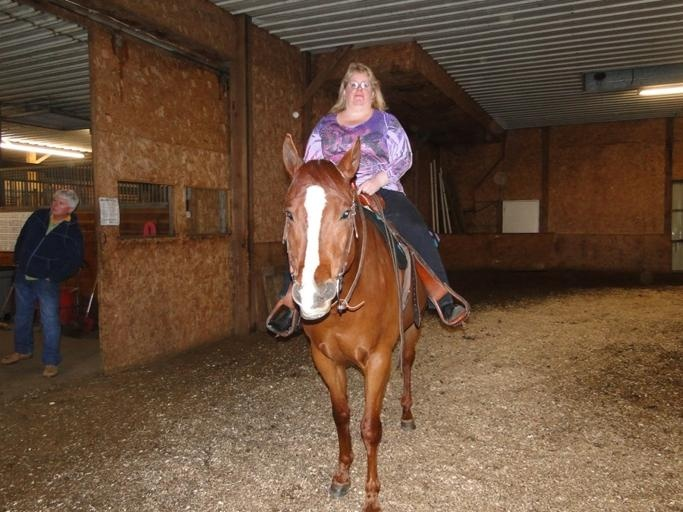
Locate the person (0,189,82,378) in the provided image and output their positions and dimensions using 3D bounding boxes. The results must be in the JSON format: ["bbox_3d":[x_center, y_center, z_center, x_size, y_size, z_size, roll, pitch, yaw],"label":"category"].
[{"bbox_3d":[-3.899,0.296,6.692,0.984,2.279,0.782,5,12,25],"label":"person"}]

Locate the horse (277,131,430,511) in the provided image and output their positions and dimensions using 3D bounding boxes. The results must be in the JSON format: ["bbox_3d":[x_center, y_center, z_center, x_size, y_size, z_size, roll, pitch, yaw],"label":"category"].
[{"bbox_3d":[0.117,0.535,4.303,0.767,2.931,1.652,5,12,27],"label":"horse"}]

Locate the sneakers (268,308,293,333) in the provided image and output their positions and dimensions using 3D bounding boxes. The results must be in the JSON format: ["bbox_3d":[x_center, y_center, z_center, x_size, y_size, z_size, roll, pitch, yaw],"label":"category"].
[{"bbox_3d":[-0.526,0.555,4.528,0.168,0.257,0.091,13,-20,30],"label":"sneakers"}]

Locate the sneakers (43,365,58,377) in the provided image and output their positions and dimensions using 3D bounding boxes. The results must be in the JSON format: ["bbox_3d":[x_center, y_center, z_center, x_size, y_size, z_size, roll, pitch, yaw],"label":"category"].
[{"bbox_3d":[-3.653,1.441,6.382,0.154,0.128,0.140,-6,12,-26],"label":"sneakers"}]
